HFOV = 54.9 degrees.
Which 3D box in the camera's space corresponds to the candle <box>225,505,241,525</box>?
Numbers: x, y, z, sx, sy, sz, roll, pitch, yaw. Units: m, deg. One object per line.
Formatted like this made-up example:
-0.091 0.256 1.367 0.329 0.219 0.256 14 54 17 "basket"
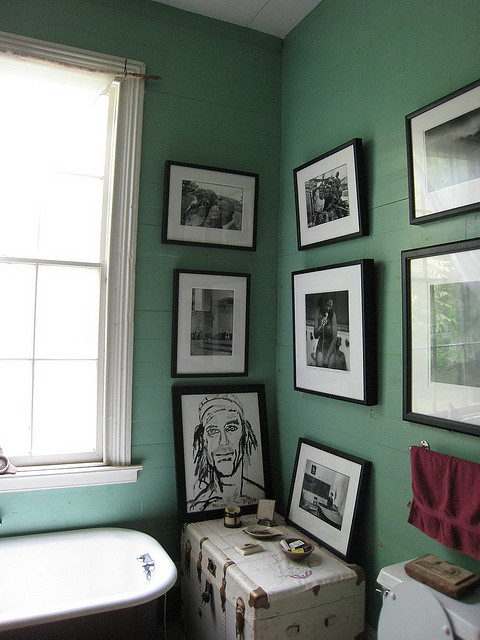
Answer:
-0.030 0.863 2.071 0.060 0.079 0.066 1 1 7 "candle"
